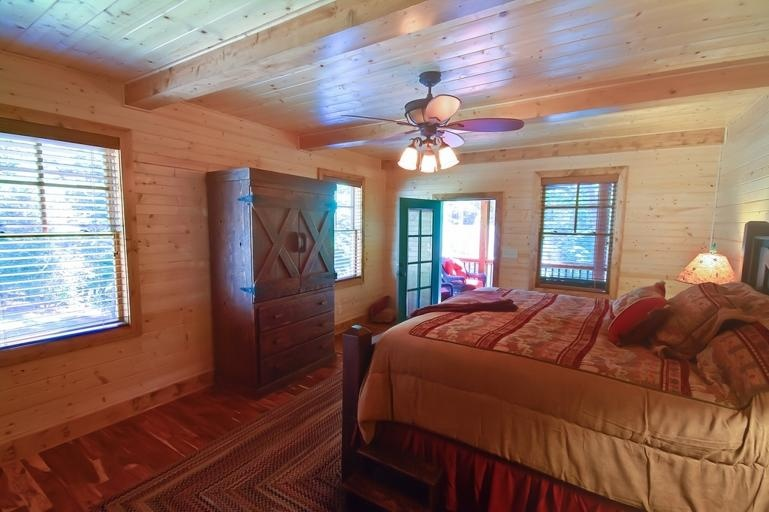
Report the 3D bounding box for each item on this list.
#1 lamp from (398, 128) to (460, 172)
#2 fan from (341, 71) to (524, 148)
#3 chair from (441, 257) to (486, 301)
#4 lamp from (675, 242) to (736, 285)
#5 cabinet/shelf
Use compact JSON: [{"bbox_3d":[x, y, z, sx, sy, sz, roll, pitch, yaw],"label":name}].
[{"bbox_3d":[0.370,-0.968,4.923,0.621,0.228,0.545,0,1,-20],"label":"lamp"},{"bbox_3d":[0.605,-1.209,4.520,1.074,0.283,0.921,2,5,29],"label":"fan"},{"bbox_3d":[1.293,0.411,8.815,0.968,0.831,0.777,0,1,27],"label":"chair"},{"bbox_3d":[3.277,0.063,5.270,0.674,0.339,0.557,1,0,1],"label":"lamp"},{"bbox_3d":[-1.262,0.220,5.620,0.750,2.289,1.119,8,12,39],"label":"cabinet/shelf"}]
